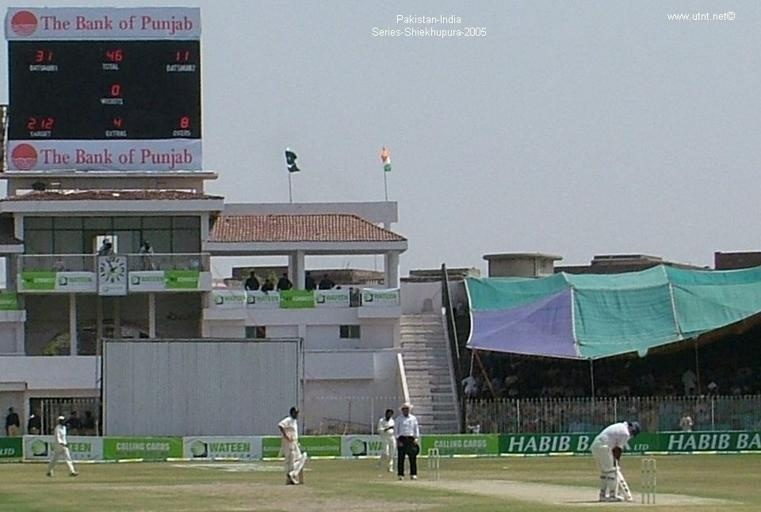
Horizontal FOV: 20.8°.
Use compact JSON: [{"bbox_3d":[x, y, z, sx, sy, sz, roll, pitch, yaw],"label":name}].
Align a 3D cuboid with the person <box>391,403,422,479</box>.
[{"bbox_3d":[1.085,8.678,98.339,1.203,3.662,1.061,1,-6,-15],"label":"person"}]
